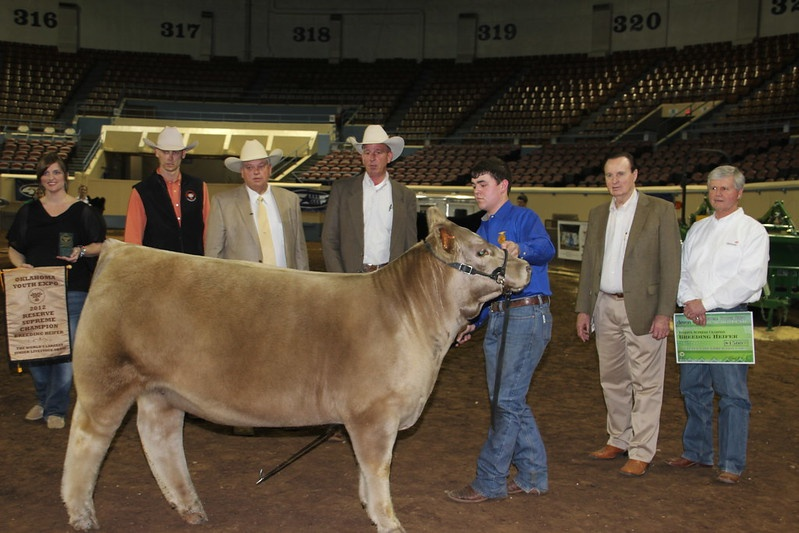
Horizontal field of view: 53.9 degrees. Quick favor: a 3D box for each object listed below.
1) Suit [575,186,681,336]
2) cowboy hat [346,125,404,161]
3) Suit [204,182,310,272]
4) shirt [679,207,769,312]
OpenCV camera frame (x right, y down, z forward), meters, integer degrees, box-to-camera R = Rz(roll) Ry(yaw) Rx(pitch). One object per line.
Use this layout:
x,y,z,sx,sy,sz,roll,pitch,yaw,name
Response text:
2.229,-0.045,7.619,0.939,1.286,0.634,7,15,23,Suit
-0.234,-1.279,8.205,0.511,0.405,0.919,0,14,-3,cowboy hat
-1.489,-0.349,7.919,1.290,1.231,0.721,1,-1,-20,Suit
3.116,-0.057,7.554,0.767,0.936,0.518,7,15,23,shirt
